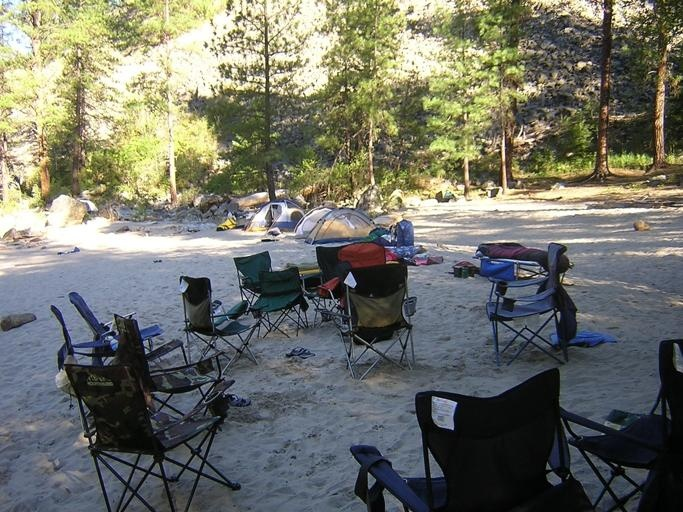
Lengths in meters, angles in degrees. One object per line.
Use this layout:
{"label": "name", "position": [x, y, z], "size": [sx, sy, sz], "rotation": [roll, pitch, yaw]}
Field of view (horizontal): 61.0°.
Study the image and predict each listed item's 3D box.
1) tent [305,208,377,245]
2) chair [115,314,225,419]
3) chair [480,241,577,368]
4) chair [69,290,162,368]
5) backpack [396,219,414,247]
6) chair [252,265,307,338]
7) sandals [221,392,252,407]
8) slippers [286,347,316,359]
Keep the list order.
{"label": "tent", "position": [-0.020, -0.798, 16.563], "size": [1.291, 0.600, 1.286], "rotation": [-7, 11, -18]}
{"label": "chair", "position": [-1.907, 1.269, 6.548], "size": [1.159, 1.339, 0.948], "rotation": [-9, 10, -32]}
{"label": "chair", "position": [2.596, 0.579, 7.937], "size": [1.436, 1.875, 1.498], "rotation": [0, 4, 6]}
{"label": "chair", "position": [-2.972, 0.800, 7.243], "size": [1.357, 0.974, 0.669], "rotation": [1, 13, -11]}
{"label": "backpack", "position": [1.461, -0.536, 13.540], "size": [0.402, 0.604, 0.543], "rotation": [-3, 7, 3]}
{"label": "chair", "position": [-0.899, 0.663, 8.721], "size": [0.878, 1.285, 1.006], "rotation": [-2, 3, 2]}
{"label": "sandals", "position": [-1.229, 1.677, 6.803], "size": [0.339, 0.139, 0.125], "rotation": [3, 5, 8]}
{"label": "slippers", "position": [-0.552, 1.315, 7.862], "size": [0.392, 0.068, 0.358], "rotation": [1, 8, 36]}
